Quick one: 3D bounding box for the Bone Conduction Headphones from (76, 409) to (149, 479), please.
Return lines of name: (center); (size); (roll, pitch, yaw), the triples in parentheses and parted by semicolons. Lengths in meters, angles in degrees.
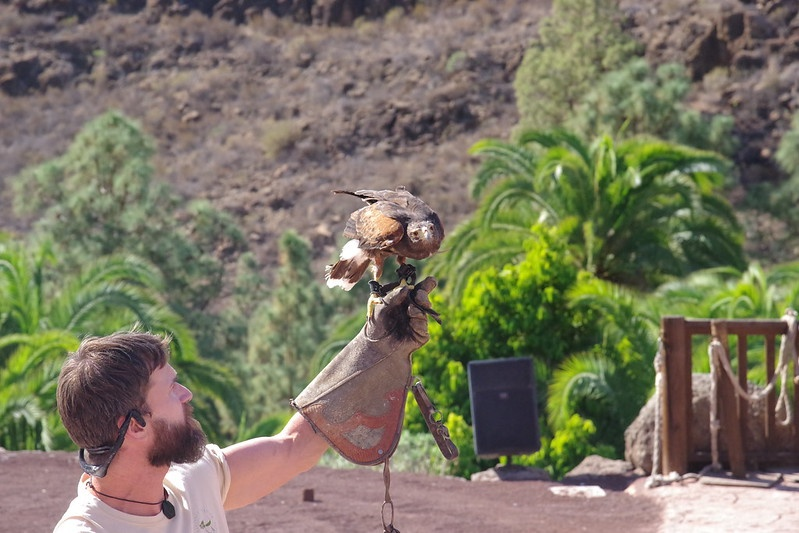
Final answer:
Bone Conduction Headphones: (-10.502, 6.428, 83.885); (2.362, 2.250, 0.212); (-8, -7, 5)
